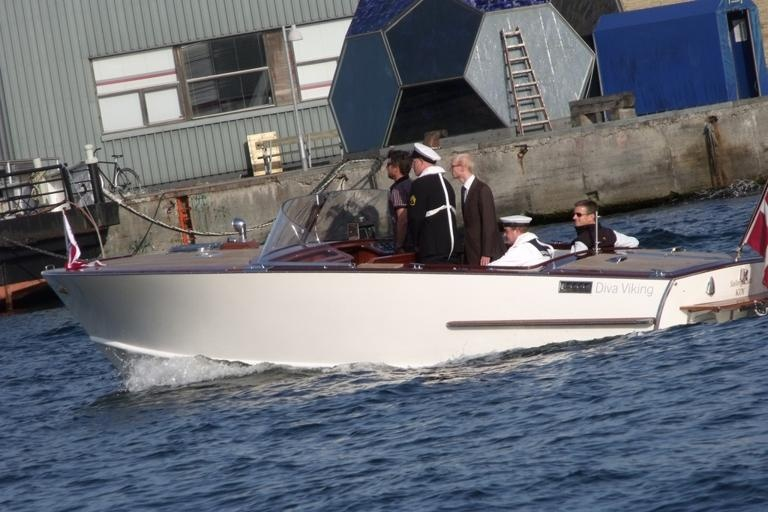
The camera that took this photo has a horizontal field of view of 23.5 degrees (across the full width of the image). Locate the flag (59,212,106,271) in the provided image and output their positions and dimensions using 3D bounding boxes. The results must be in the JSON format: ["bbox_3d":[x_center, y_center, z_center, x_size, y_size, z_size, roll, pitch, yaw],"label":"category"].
[{"bbox_3d":[-5.202,-0.292,32.298,0.797,0.960,0.295,1,-7,-30],"label":"flag"}]

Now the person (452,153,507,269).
[{"bbox_3d":[1.654,-0.716,31.598,0.729,2.075,1.269,1,0,15],"label":"person"}]

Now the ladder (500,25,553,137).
[{"bbox_3d":[3.217,-4.004,41.712,0.953,2.380,0.628,-11,8,-19],"label":"ladder"}]

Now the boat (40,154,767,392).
[{"bbox_3d":[0.724,0.582,32.882,14.027,4.242,4.479,0,0,9],"label":"boat"}]

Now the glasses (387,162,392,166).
[{"bbox_3d":[0.098,-1.597,31.965,0.077,0.092,0.105,3,8,1],"label":"glasses"}]

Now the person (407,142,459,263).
[{"bbox_3d":[0.807,-0.830,31.429,1.177,2.205,0.688,0,-2,19],"label":"person"}]
